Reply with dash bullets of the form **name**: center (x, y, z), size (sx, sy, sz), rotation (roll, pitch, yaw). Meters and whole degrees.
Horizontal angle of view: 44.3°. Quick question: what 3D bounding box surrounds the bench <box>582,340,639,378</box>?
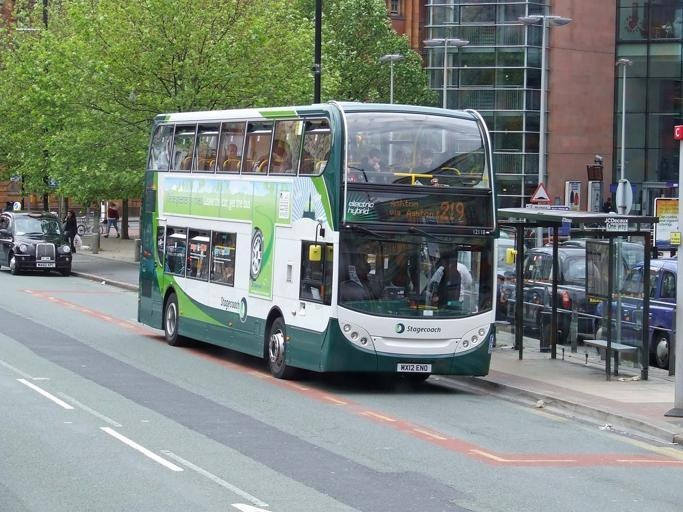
- **bench**: center (5.187, 1.874, 16.112), size (0.789, 0.729, 1.405), rotation (0, 4, -8)

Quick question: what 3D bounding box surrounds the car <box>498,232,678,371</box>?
- **car**: center (5.460, 0.858, 18.667), size (2.056, 2.015, 5.568), rotation (-1, 5, -19)
